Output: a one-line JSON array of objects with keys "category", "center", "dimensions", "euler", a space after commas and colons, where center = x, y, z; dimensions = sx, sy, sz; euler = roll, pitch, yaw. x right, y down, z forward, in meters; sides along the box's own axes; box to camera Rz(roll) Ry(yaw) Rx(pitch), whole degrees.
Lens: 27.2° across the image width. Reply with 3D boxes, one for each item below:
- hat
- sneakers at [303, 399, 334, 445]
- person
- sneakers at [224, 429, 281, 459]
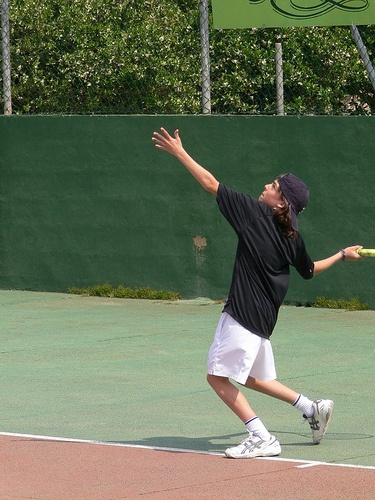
[{"category": "hat", "center": [0.594, -0.273, 4.373], "dimensions": [0.192, 0.294, 0.201], "euler": [-29, -5, 5]}, {"category": "sneakers", "center": [0.747, 0.955, 4.379], "dimensions": [0.170, 0.287, 0.101], "euler": [3, 41, 3]}, {"category": "person", "center": [0.383, 0.233, 4.253], "dimensions": [0.813, 1.747, 0.545], "euler": [-4, 6, -25]}, {"category": "sneakers", "center": [0.355, 1.034, 4.127], "dimensions": [0.352, 0.132, 0.109], "euler": [1, -6, -8]}]
